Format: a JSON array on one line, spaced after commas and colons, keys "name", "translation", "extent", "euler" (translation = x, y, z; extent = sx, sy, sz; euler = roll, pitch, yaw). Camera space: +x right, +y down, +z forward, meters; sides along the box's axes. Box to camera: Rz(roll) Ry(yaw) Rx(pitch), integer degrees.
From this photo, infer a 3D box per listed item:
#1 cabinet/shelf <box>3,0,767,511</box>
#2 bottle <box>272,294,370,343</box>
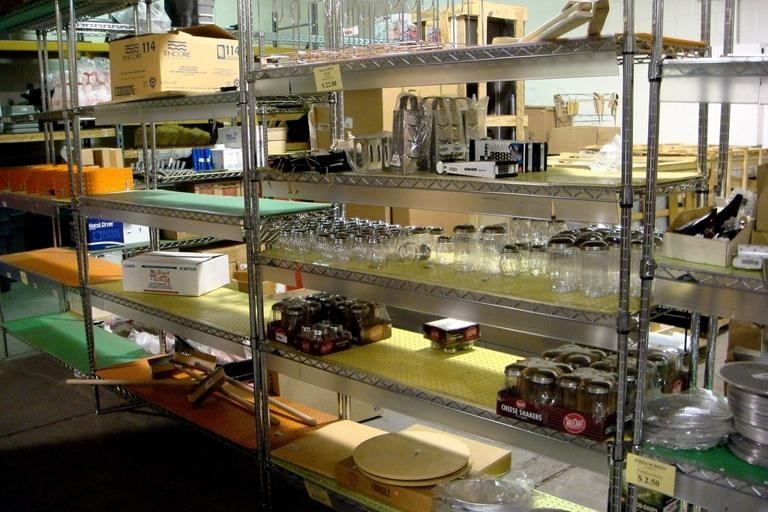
[{"name": "cabinet/shelf", "translation": [-0.253, 0.045, 3.418], "extent": [4.542, 2.185, 0.682], "euler": [9, 13, 36]}, {"name": "bottle", "translation": [-0.377, 0.343, 3.347], "extent": [0.383, 0.129, 0.380], "euler": [0, 9, 0]}]
